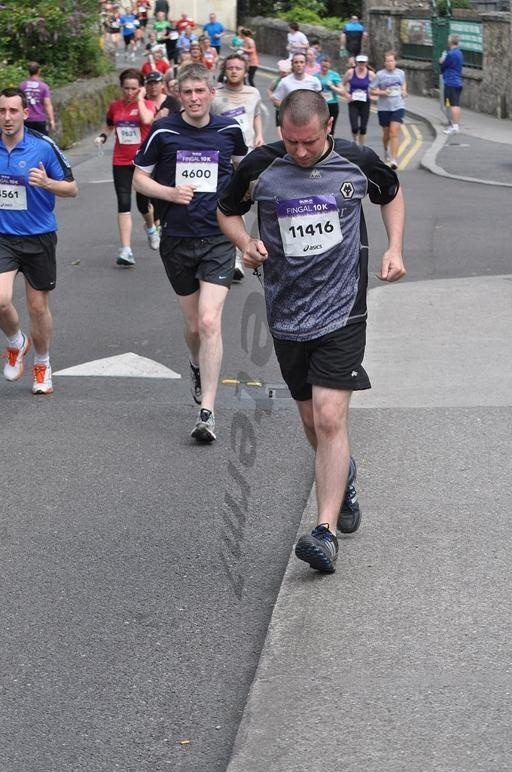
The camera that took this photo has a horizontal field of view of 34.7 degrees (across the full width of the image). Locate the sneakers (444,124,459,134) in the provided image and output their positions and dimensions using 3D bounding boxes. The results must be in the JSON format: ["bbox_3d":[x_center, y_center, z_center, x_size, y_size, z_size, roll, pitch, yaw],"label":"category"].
[{"bbox_3d":[5.421,-7.167,22.937,0.251,0.262,0.669,-9,13,-20],"label":"sneakers"}]

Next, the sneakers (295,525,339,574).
[{"bbox_3d":[0.225,0.575,2.862,0.096,0.120,0.233,35,-8,14],"label":"sneakers"}]

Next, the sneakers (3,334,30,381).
[{"bbox_3d":[-1.810,-0.185,6.167,0.158,0.392,0.180,3,-3,17],"label":"sneakers"}]

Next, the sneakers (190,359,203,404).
[{"bbox_3d":[-0.419,-0.019,5.434,0.097,0.255,0.118,0,9,-6],"label":"sneakers"}]

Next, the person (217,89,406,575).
[{"bbox_3d":[0.238,-0.188,3.029,0.685,1.724,0.861,-5,12,10],"label":"person"}]

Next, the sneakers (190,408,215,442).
[{"bbox_3d":[-0.321,0.251,4.860,0.113,0.111,0.232,1,-13,0],"label":"sneakers"}]

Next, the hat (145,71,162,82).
[{"bbox_3d":[-1.253,-3.786,10.024,0.153,0.095,0.197,-7,3,9],"label":"hat"}]

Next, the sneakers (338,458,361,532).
[{"bbox_3d":[0.394,0.446,3.275,0.109,0.306,0.138,0,-2,11],"label":"sneakers"}]
